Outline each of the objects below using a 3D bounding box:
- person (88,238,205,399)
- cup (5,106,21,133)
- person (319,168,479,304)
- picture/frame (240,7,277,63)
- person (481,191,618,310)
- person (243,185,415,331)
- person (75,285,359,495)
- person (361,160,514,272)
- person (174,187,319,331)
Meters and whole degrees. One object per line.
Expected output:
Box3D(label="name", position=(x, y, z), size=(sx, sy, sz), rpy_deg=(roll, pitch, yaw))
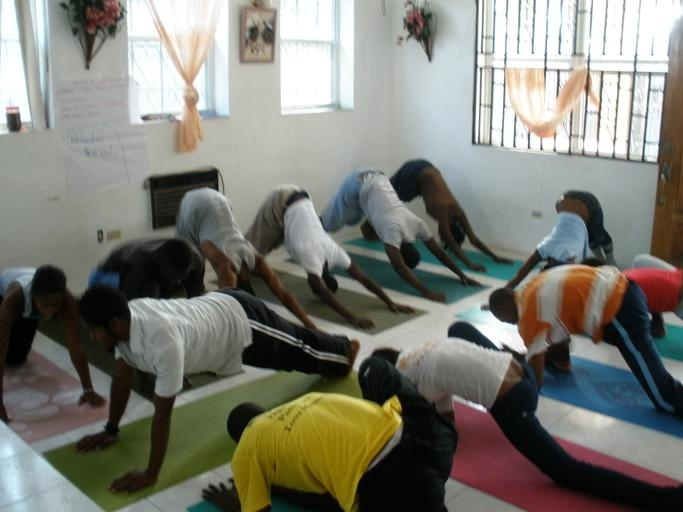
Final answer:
Box3D(label="person", position=(-1.537, 0.220, 3.839), size=(0.987, 1.112, 0.583), rpy_deg=(31, 24, 32))
Box3D(label="cup", position=(-3.010, -1.269, 4.535), size=(0.113, 0.233, 0.141), rpy_deg=(-8, 14, -37))
Box3D(label="person", position=(0.523, -0.308, 5.542), size=(1.009, 1.101, 2.297), rpy_deg=(-17, 33, -33))
Box3D(label="picture/frame", position=(-0.982, -2.599, 5.739), size=(0.039, 0.690, 0.549), rpy_deg=(10, 15, 38))
Box3D(label="person", position=(2.255, -0.073, 4.864), size=(1.067, 0.852, 1.360), rpy_deg=(-25, 20, -39))
Box3D(label="person", position=(-0.246, -0.081, 4.510), size=(0.855, 0.724, 1.850), rpy_deg=(-18, 38, -33))
Box3D(label="person", position=(-0.670, 0.557, 3.002), size=(1.579, 0.990, 0.612), rpy_deg=(-11, 16, -41))
Box3D(label="person", position=(1.140, -0.556, 6.227), size=(0.646, 1.221, 1.910), rpy_deg=(-22, 38, -37))
Box3D(label="person", position=(-0.853, -0.110, 4.046), size=(0.760, 0.499, 1.487), rpy_deg=(-26, 76, -41))
